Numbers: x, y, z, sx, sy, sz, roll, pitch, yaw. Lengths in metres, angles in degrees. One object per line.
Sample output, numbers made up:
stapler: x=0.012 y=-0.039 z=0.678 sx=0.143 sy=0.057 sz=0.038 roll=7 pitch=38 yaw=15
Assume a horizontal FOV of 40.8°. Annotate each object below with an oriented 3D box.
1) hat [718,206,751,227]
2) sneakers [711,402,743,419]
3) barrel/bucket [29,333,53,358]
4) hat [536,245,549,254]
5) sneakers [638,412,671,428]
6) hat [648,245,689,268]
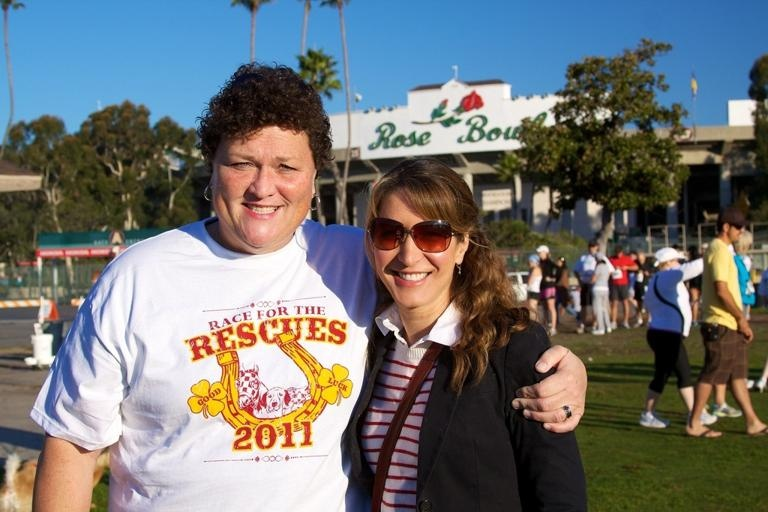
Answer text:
hat: x=4.913 y=-0.571 z=14.548 sx=0.314 sy=0.209 sz=0.248 roll=-2 pitch=5 yaw=16
sneakers: x=4.904 y=2.195 z=14.821 sx=0.441 sy=0.227 sz=0.184 roll=0 pitch=2 yaw=-10
barrel/bucket: x=-6.442 y=1.639 z=19.454 sx=0.383 sy=0.461 sz=0.391 roll=0 pitch=3 yaw=0
hat: x=3.356 y=-0.150 z=21.628 sx=0.201 sy=0.175 sz=0.303 roll=0 pitch=-5 yaw=44
sneakers: x=3.820 y=2.300 z=14.694 sx=0.322 sy=0.167 sz=0.201 roll=-2 pitch=-2 yaw=33
hat: x=4.965 y=-0.001 z=17.933 sx=0.578 sy=0.339 sz=0.399 roll=-7 pitch=7 yaw=-8
